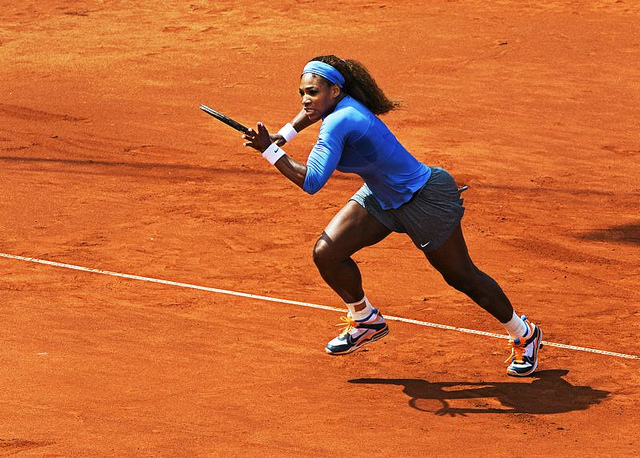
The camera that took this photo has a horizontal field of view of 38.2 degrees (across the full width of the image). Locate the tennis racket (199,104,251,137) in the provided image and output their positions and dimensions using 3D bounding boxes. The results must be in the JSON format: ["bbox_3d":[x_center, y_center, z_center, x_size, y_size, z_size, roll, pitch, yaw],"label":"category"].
[{"bbox_3d":[-1.031,-1.167,9.790,0.401,0.331,0.679,-11,19,-7],"label":"tennis racket"}]
